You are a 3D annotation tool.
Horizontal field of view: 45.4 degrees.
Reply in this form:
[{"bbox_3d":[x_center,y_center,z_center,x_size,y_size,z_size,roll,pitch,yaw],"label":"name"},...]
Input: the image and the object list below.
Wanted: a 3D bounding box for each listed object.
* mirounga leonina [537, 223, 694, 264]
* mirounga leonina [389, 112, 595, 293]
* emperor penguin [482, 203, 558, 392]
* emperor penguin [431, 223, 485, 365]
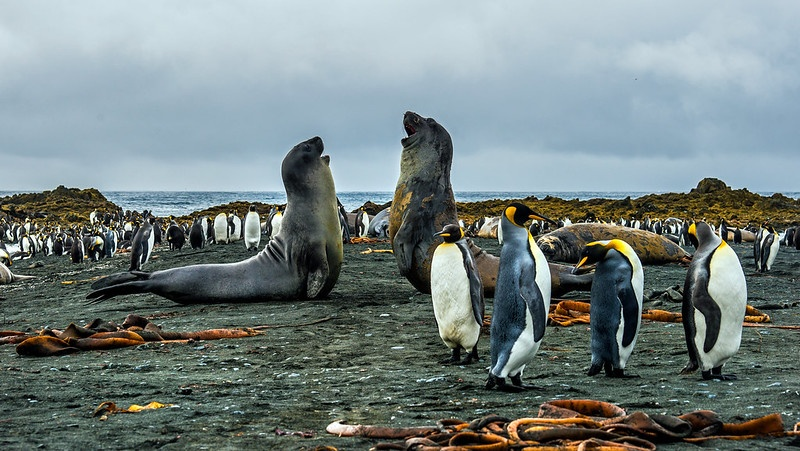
[{"bbox_3d":[5.221,0.442,23.874,4.248,1.058,1.382,3,0,-9],"label":"mirounga leonina"},{"bbox_3d":[2.187,-0.096,20.276,6.036,3.514,1.799,13,2,-20],"label":"mirounga leonina"},{"bbox_3d":[1.849,1.110,15.073,0.997,2.893,0.546,-1,2,4],"label":"emperor penguin"},{"bbox_3d":[0.933,1.149,15.744,0.824,2.283,0.394,-1,2,6],"label":"emperor penguin"}]
